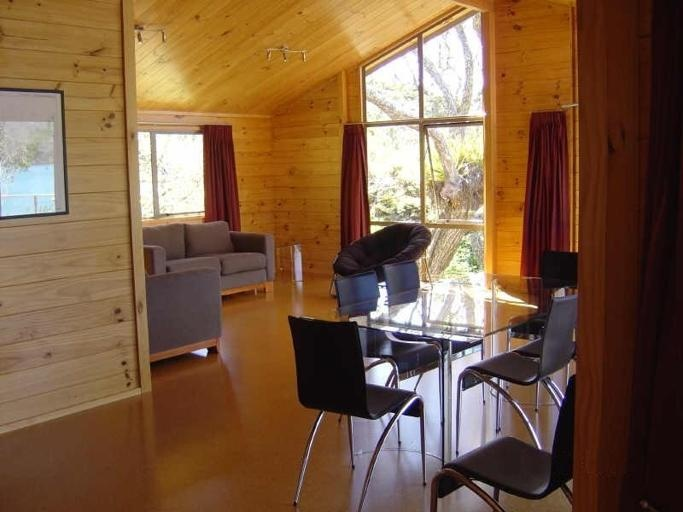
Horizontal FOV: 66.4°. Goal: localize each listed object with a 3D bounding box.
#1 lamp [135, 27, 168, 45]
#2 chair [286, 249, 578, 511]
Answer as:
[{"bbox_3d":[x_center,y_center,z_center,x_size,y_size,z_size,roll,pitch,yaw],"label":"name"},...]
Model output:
[{"bbox_3d":[-2.142,-2.502,5.928,0.339,0.119,0.396,-5,10,-20],"label":"lamp"},{"bbox_3d":[0.453,0.753,2.610,1.303,0.879,1.163,4,6,33],"label":"chair"}]
